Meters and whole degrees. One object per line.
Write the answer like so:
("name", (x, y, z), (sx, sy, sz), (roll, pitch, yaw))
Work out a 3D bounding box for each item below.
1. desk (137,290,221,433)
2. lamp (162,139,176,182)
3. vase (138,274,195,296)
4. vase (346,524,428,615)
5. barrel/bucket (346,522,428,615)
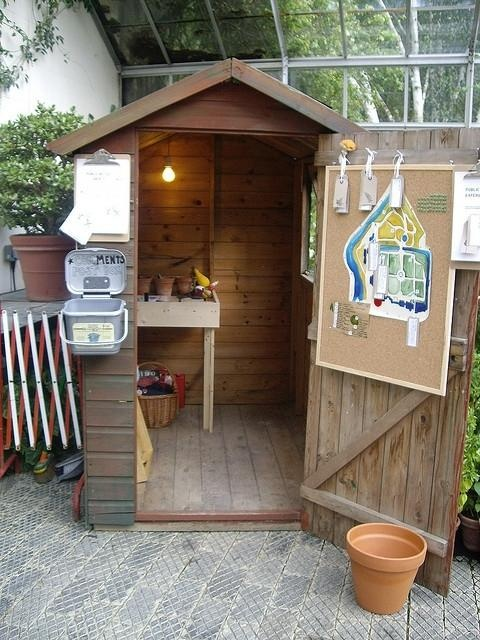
("desk", (-0.545, 0.375, 4.761), (0.708, 1.200, 0.632), (-1, 9, -6))
("lamp", (-0.651, -1.475, 4.795), (0.125, 0.390, 0.358), (-1, 9, -8))
("vase", (-0.659, -0.310, 4.750), (0.309, 0.093, 0.282), (-8, 14, -37))
("vase", (0.673, 1.119, 2.401), (0.396, 0.275, 0.370), (3, 9, 24))
("barrel/bucket", (0.671, 1.127, 2.411), (0.396, 0.275, 0.370), (0, 9, 0))
